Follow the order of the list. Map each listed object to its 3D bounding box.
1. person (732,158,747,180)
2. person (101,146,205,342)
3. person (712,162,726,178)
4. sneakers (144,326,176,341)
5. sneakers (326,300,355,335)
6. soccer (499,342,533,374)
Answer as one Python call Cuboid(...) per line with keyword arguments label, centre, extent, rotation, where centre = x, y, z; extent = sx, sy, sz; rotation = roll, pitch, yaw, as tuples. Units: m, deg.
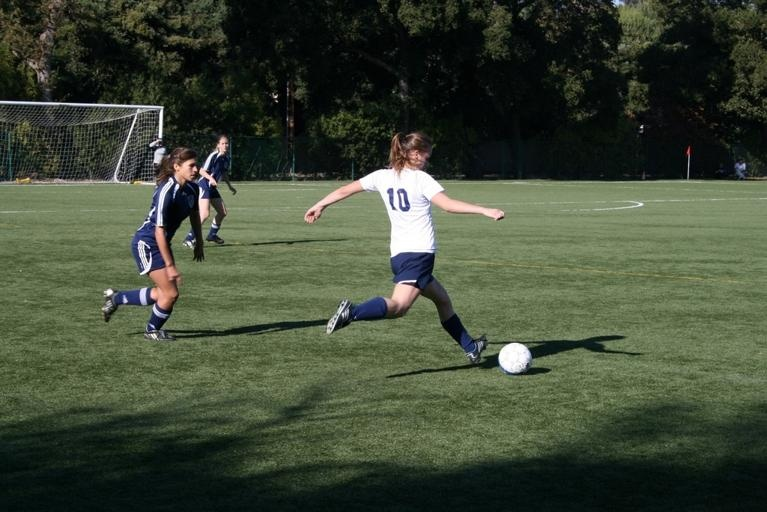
Cuboid(label="person", centre=(28.859, -7.021, 64.410), extent=(1.016, 1.382, 0.661), rotation=(3, 4, 18))
Cuboid(label="person", centre=(-2.248, -0.126, 8.238), extent=(0.740, 1.950, 0.991), rotation=(-1, 4, -34))
Cuboid(label="person", centre=(27.387, -6.943, 64.838), extent=(1.027, 1.154, 0.448), rotation=(3, 4, 21))
Cuboid(label="sneakers", centre=(-2.293, 0.801, 8.254), extent=(0.359, 0.158, 0.123), rotation=(2, 3, -5))
Cuboid(label="sneakers", centre=(-0.386, 0.518, 6.937), extent=(0.169, 0.265, 0.203), rotation=(5, 5, 39))
Cuboid(label="soccer", centre=(1.202, 0.931, 7.215), extent=(0.263, 0.262, 0.262), rotation=(4, 12, 33))
